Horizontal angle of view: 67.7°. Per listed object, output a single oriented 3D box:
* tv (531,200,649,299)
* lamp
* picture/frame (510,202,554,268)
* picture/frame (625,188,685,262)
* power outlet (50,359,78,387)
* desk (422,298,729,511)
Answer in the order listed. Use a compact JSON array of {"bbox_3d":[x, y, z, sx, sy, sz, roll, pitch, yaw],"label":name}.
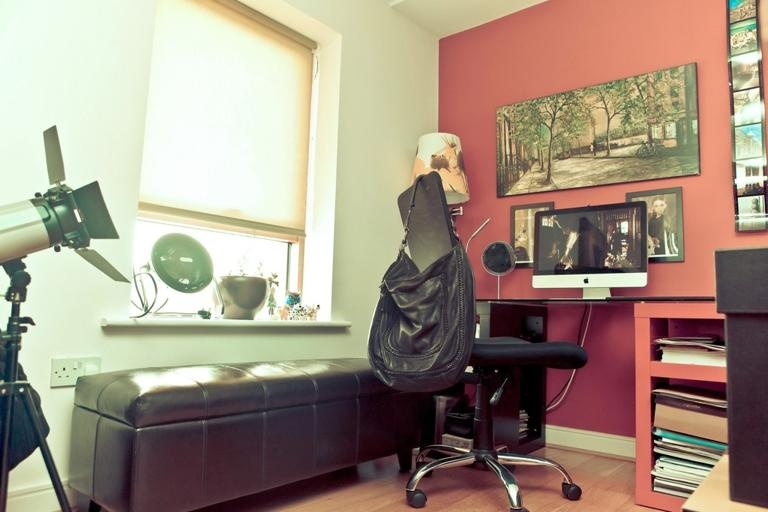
[{"bbox_3d":[1.312,-0.018,3.657,0.660,0.590,0.213,-3,-14,29],"label":"tv"},{"bbox_3d":[0.418,-0.697,4.297,0.389,0.420,0.398,5,8,0],"label":"lamp"},{"bbox_3d":[1.023,-0.136,3.926,0.042,0.586,0.435,5,-5,-34],"label":"picture/frame"},{"bbox_3d":[1.689,-0.175,3.551,0.423,0.607,0.046,-4,-9,40],"label":"picture/frame"},{"bbox_3d":[-1.569,0.571,2.798,0.132,0.153,0.016,6,-10,-42],"label":"power outlet"},{"bbox_3d":[1.025,0.814,3.091,1.060,0.702,0.346,-4,-8,39],"label":"desk"}]
